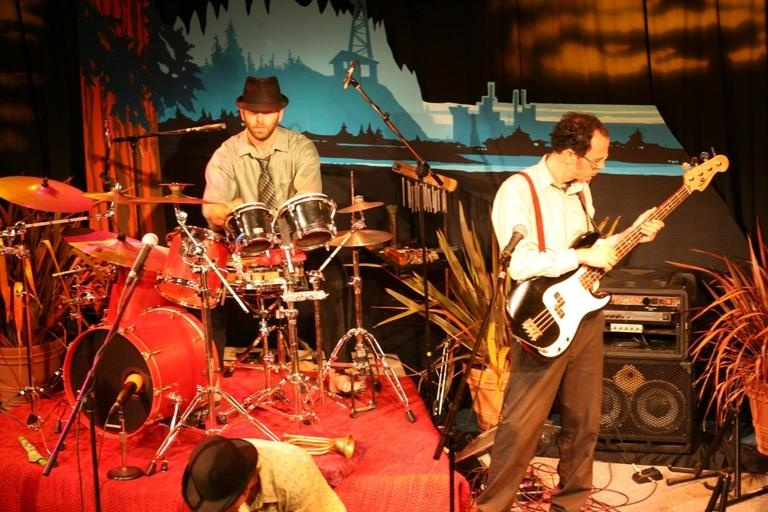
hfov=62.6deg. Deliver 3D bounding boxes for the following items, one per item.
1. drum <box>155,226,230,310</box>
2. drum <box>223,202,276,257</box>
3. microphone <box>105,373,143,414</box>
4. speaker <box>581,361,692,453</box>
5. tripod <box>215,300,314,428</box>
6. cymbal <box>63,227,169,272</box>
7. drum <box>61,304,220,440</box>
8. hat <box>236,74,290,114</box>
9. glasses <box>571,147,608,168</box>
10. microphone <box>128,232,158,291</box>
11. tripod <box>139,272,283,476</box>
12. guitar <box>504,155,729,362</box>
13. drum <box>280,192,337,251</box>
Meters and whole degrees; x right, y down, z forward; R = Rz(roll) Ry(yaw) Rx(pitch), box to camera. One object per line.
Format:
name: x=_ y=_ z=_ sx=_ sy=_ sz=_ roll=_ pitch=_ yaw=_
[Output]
drum: x=-1.453 y=0.098 z=4.777 sx=0.518 sy=0.471 sz=0.516 roll=-6 pitch=-41 yaw=28
drum: x=-1.013 y=-0.207 z=4.789 sx=0.359 sy=0.385 sz=0.280 roll=-2 pitch=4 yaw=-14
microphone: x=-1.787 y=0.937 z=4.510 sx=0.134 sy=0.127 sz=0.429 roll=10 pitch=26 yaw=12
speaker: x=2.071 y=1.134 z=5.314 sx=0.995 sy=0.902 sz=0.704 roll=1 pitch=3 yaw=12
tripod: x=-0.955 y=0.878 z=5.156 sx=0.813 sy=0.779 sz=0.744 roll=-2 pitch=-3 yaw=-37
cymbal: x=-1.997 y=-0.102 z=4.847 sx=0.748 sy=0.141 sz=0.723 roll=9 pitch=-19 yaw=-9
drum: x=-1.817 y=0.689 z=4.937 sx=1.123 sy=1.060 sz=0.873 roll=6 pitch=9 yaw=20
hat: x=-1.134 y=-1.545 z=5.823 sx=0.534 sy=0.246 sz=0.669 roll=1 pitch=25 yaw=-5
glasses: x=1.315 y=-0.621 z=4.097 sx=0.139 sy=0.129 sz=0.043 roll=-6 pitch=-23 yaw=-14
microphone: x=-1.490 y=0.032 z=3.883 sx=0.176 sy=0.336 sz=0.216 roll=-3 pitch=4 yaw=-19
tripod: x=-1.314 y=0.879 z=4.702 sx=1.067 sy=1.429 sz=0.916 roll=-5 pitch=34 yaw=-12
guitar: x=1.413 y=0.045 z=4.144 sx=1.298 sy=1.165 sz=0.207 roll=-3 pitch=4 yaw=-19
drum: x=-0.560 y=-0.233 z=4.748 sx=0.436 sy=0.311 sz=0.383 roll=-4 pitch=-26 yaw=-26
